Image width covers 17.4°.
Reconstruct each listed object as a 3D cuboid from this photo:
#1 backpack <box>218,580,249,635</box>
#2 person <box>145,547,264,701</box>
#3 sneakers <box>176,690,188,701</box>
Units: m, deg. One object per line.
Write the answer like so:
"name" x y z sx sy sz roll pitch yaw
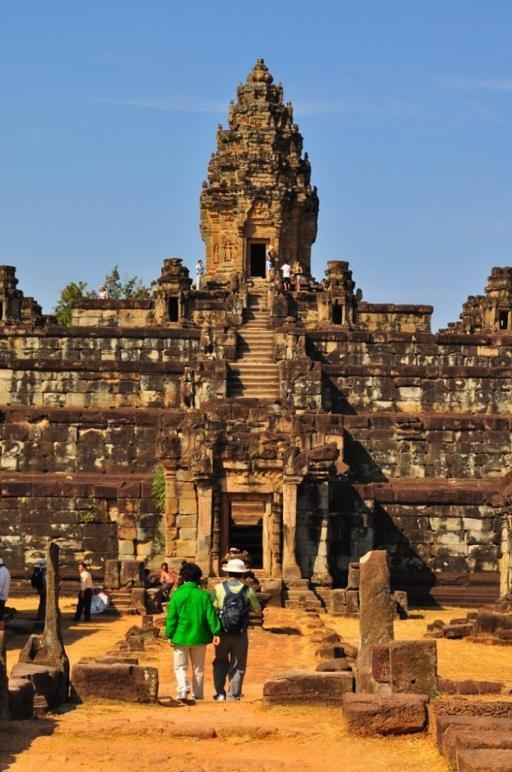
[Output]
"backpack" -0.217 2.163 16.651 0.349 0.554 0.563 2 7 1
"person" -0.406 2.433 16.413 0.573 1.360 1.020 -3 -5 37
"sneakers" -0.691 3.039 16.240 0.096 0.117 0.194 0 -4 -8
